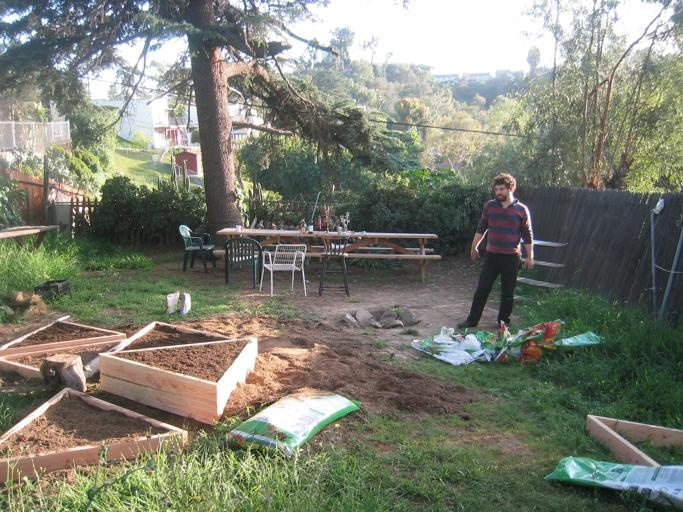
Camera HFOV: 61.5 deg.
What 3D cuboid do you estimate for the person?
[{"bbox_3d":[2.400,-0.055,8.789,0.972,2.405,1.000,6,7,19],"label":"person"}]

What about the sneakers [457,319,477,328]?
[{"bbox_3d":[1.938,1.063,8.910,0.237,0.118,0.139,4,1,2],"label":"sneakers"}]

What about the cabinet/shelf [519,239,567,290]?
[{"bbox_3d":[3.933,0.186,11.170,0.165,0.520,0.865,-11,18,-41],"label":"cabinet/shelf"}]
